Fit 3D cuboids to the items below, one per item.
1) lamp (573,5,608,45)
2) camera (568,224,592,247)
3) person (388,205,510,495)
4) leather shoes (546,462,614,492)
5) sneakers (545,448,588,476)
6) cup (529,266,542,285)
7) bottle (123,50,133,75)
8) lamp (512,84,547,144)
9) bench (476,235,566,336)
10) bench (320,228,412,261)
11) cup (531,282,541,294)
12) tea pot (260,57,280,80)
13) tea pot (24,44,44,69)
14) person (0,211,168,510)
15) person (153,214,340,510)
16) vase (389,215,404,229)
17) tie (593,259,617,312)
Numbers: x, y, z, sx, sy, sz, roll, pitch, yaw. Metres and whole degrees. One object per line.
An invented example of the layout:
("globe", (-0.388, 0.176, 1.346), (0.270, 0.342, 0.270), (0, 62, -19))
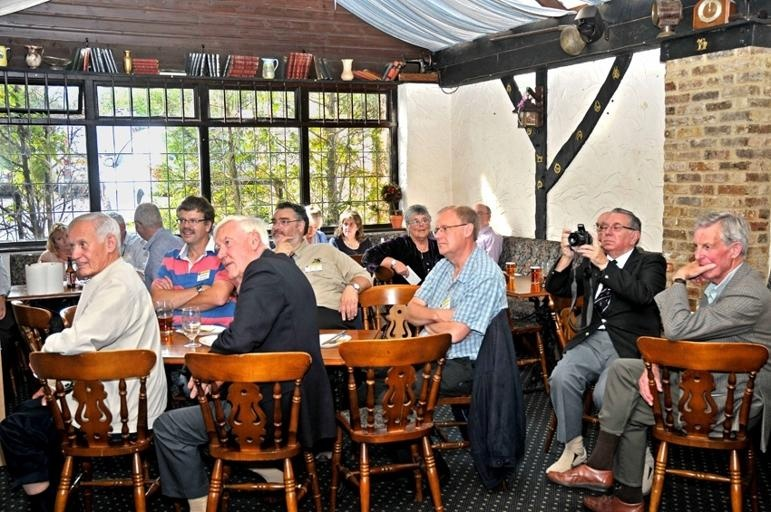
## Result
("lamp", (2.216, -2.494, 6.803), (0.272, 0.368, 0.363), (3, 16, 20))
("camera", (1.408, -0.149, 4.563), (0.148, 0.144, 0.146), (1, -2, -33))
("person", (0.534, 0.649, 4.344), (0.628, 1.956, 0.843), (-5, 8, -18))
("leather shoes", (1.349, 1.506, 4.389), (0.420, 0.166, 0.155), (-1, -3, 33))
("sneakers", (1.306, 1.457, 4.571), (0.356, 0.131, 0.131), (-21, 11, -26))
("cup", (1.447, 0.185, 6.057), (0.094, 0.152, 0.127), (-1, 8, 11))
("bottle", (-3.219, -2.395, 7.851), (0.113, 0.326, 0.226), (-6, 8, -22))
("lamp", (1.798, -1.750, 7.863), (0.330, 0.685, 0.273), (-7, 9, -29))
("bench", (1.606, 0.137, 7.512), (0.780, 1.044, 1.491), (1, 0, -28))
("bench", (-0.264, -0.130, 7.190), (0.788, 0.432, 0.531), (-1, 0, -10))
("cup", (1.410, 0.299, 5.923), (0.093, 0.107, 0.095), (2, -2, 0))
("tea pot", (-1.551, -2.476, 8.405), (0.308, 0.299, 0.189), (0, 3, -35))
("tea pot", (-4.161, -2.331, 7.457), (0.197, 0.290, 0.259), (-7, 9, -28))
("person", (-1.907, 0.684, 3.913), (1.013, 1.855, 0.689), (-4, 8, -11))
("person", (-0.866, 0.655, 3.870), (0.967, 1.764, 0.640), (1, 8, 23))
("vase", (0.159, -0.502, 9.314), (0.190, 0.172, 0.192), (-1, -5, 6))
("tie", (1.649, 0.232, 4.737), (0.084, 0.334, 0.198), (7, -3, -39))
